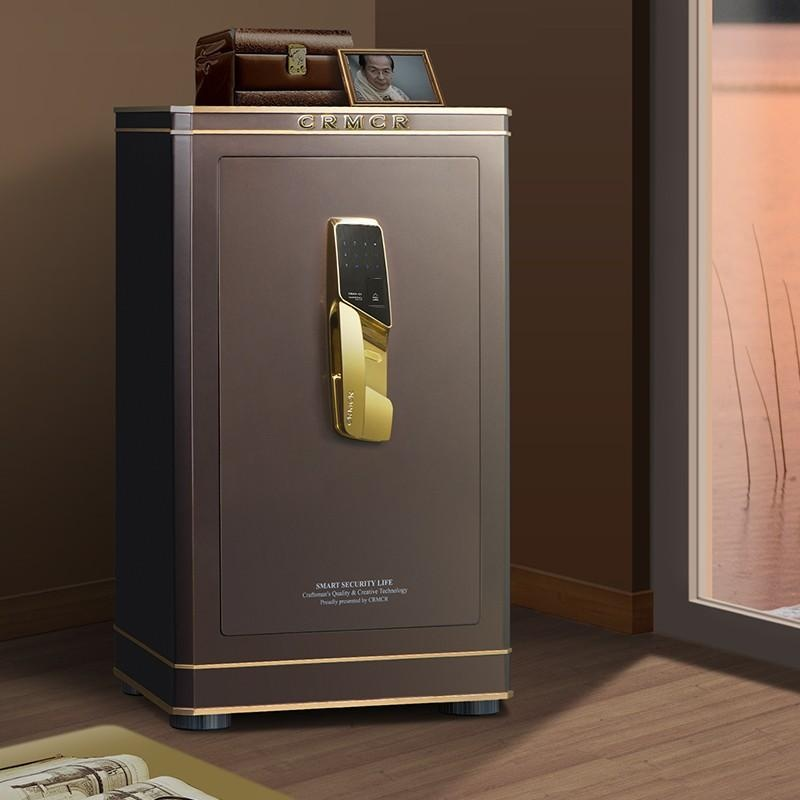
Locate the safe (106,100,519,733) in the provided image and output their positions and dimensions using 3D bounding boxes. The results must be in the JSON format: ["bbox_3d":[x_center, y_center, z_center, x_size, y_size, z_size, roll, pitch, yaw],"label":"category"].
[{"bbox_3d":[-0.113,0.038,1.638,0.682,1.203,0.346,-2,13,4],"label":"safe"}]

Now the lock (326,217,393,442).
[{"bbox_3d":[-0.077,-0.136,1.627,0.115,0.424,0.103,-3,13,0],"label":"lock"}]

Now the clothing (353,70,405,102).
[{"bbox_3d":[-0.040,-0.642,1.702,0.104,0.064,0.040,-3,13,-3],"label":"clothing"}]
